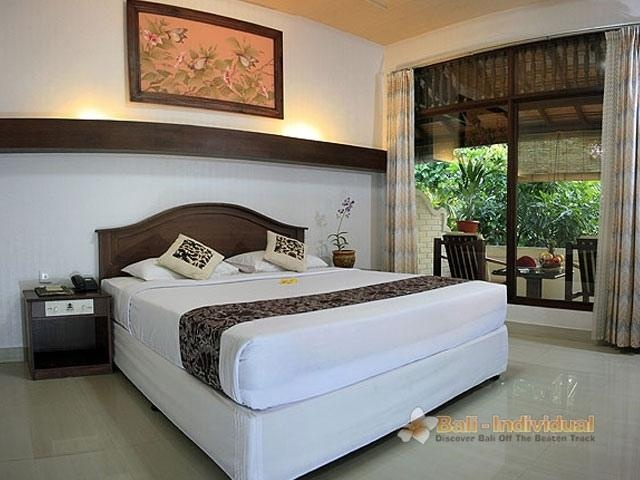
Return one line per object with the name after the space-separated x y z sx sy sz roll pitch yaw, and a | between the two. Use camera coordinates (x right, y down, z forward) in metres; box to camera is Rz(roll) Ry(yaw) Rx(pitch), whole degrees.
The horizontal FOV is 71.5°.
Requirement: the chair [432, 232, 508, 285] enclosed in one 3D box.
1.914 0.212 5.704 0.652 0.778 0.595 -2 3 -40 | chair

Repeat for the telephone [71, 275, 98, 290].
-2.153 0.381 4.041 0.152 0.071 0.197 -1 17 -33 | telephone

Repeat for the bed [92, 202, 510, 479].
-0.294 0.435 4.007 2.620 1.438 2.880 -6 10 -37 | bed

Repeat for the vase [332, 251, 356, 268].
0.280 0.240 5.511 0.219 0.155 0.212 0 -1 10 | vase

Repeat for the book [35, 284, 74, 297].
-2.309 0.448 3.877 0.190 0.033 0.172 5 3 16 | book

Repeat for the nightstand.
-2.282 0.842 4.041 0.698 0.646 0.567 0 -1 -39 | nightstand

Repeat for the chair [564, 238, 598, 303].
2.830 0.316 4.872 0.298 0.716 0.172 4 10 29 | chair
